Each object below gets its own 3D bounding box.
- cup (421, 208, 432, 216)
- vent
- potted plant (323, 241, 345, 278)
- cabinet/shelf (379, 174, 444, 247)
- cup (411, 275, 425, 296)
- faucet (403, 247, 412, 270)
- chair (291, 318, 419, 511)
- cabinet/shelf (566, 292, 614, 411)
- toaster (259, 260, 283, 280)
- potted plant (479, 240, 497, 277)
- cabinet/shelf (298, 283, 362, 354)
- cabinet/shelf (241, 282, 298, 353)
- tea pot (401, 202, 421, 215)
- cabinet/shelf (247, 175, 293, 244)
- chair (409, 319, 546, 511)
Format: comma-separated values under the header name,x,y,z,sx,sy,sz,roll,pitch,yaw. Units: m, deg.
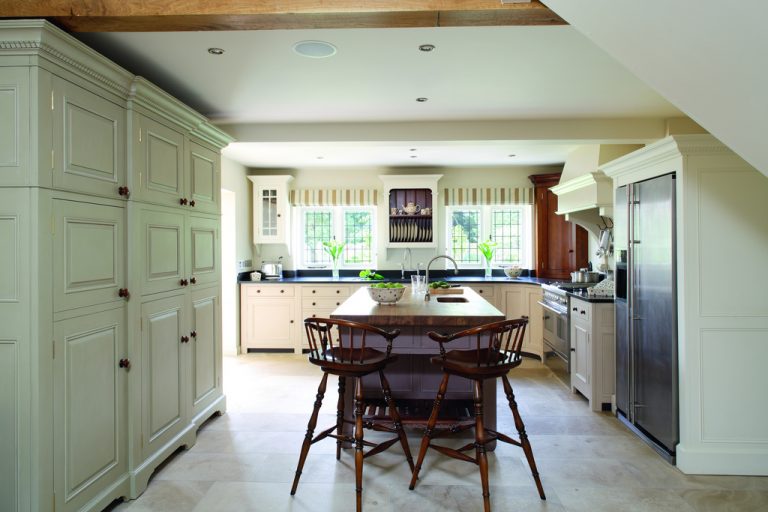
name,x,y,z,sx,sy,sz,roll,pitch,yaw
cup,0.608,-0.654,7.903,0.167,0.118,0.057,-2,0,7
vent,2.247,-0.825,5.736,0.331,0.527,1.072,1,-2,3
potted plant,-0.787,0.024,8.282,0.524,0.478,0.500,0,-1,-1
cabinet/shelf,0.390,-0.685,7.931,1.184,1.300,0.360,0,-2,0
cup,0.363,0.307,5.584,0.180,0.182,0.179,-1,-2,0
faucet,0.361,0.039,8.109,0.135,0.322,0.050,-2,0,-10
chair,-0.237,1.087,4.203,0.888,1.397,1.161,-2,0,1
cabinet/shelf,2.281,0.946,5.551,0.570,1.076,0.837,-1,0,5
toaster,-1.622,0.209,7.892,0.351,0.239,0.221,-1,6,-7
potted plant,1.550,0.022,8.071,0.250,0.571,0.397,-2,0,10
cabinet/shelf,-0.807,0.738,7.783,0.872,1.065,0.596,-1,19,-4
cabinet/shelf,-1.555,0.802,7.424,1.053,1.122,0.630,0,-2,-2
tea pot,0.397,-0.696,7.924,0.243,0.190,0.105,-2,0,2
cabinet/shelf,-1.688,-0.646,7.941,0.664,0.892,0.543,-1,-3,-5
chair,0.687,1.091,4.035,0.936,1.336,0.961,-2,0,14
